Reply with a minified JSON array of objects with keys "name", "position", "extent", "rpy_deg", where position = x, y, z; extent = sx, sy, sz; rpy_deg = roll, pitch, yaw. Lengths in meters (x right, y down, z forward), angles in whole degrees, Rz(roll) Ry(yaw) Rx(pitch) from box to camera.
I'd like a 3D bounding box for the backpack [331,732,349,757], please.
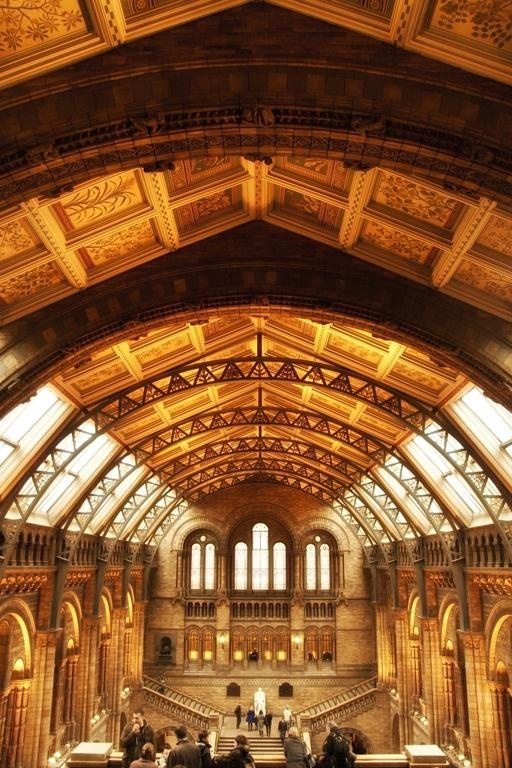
[{"name":"backpack","position":[1.549,6.697,9.709],"extent":[0.244,0.376,0.672],"rpy_deg":[-7,-25,12]}]
